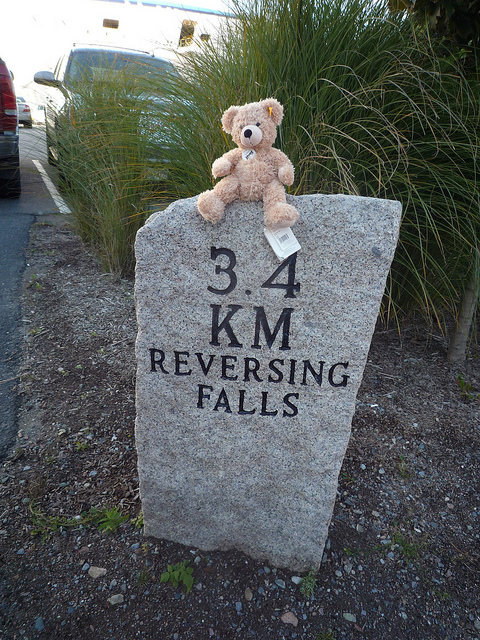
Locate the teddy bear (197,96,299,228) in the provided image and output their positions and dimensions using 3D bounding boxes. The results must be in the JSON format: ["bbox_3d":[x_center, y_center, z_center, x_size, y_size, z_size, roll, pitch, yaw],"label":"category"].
[{"bbox_3d":[0.014,-0.482,1.510,0.282,0.350,0.237,-3,29,0],"label":"teddy bear"}]

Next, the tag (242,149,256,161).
[{"bbox_3d":[0.026,-0.512,1.527,0.036,0.033,0.010,6,3,17],"label":"tag"}]
